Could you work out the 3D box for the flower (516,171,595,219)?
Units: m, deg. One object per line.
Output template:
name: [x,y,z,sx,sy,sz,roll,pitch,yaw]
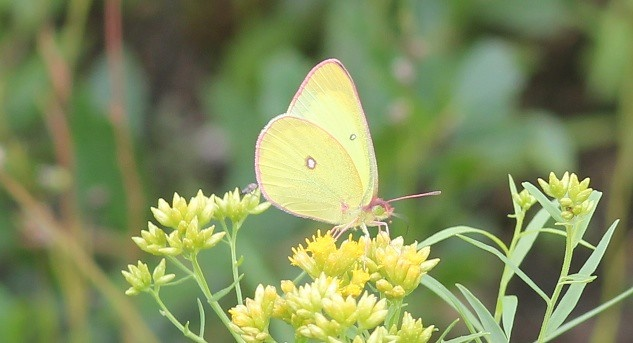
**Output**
flower: [1.314,0.095,3.485,0.253,0.193,0.303,-31,15,-9]
